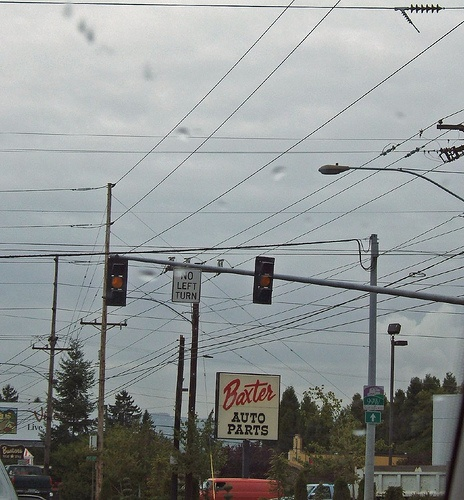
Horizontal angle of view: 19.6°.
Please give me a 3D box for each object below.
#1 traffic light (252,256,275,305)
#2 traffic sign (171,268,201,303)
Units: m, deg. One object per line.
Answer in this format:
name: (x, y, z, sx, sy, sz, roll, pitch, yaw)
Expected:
traffic light: (1.480, 1.380, 59.604, 0.747, 2.066, 0.658, 5, -10, -3)
traffic sign: (-2.003, 1.684, 60.116, 1.455, 1.912, 0.210, 2, -7, -7)
